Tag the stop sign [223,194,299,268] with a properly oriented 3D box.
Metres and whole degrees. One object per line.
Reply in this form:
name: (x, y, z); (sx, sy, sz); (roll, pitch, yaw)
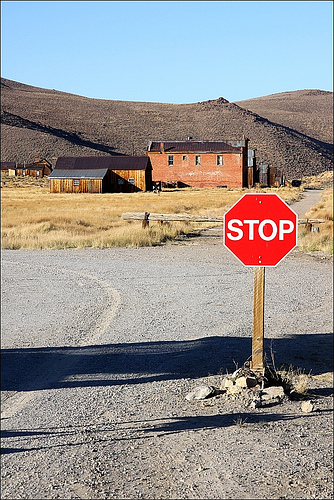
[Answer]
stop sign: (0.760, -0.171, 4.989); (0.631, 0.717, 0.040); (-1, 31, 6)
